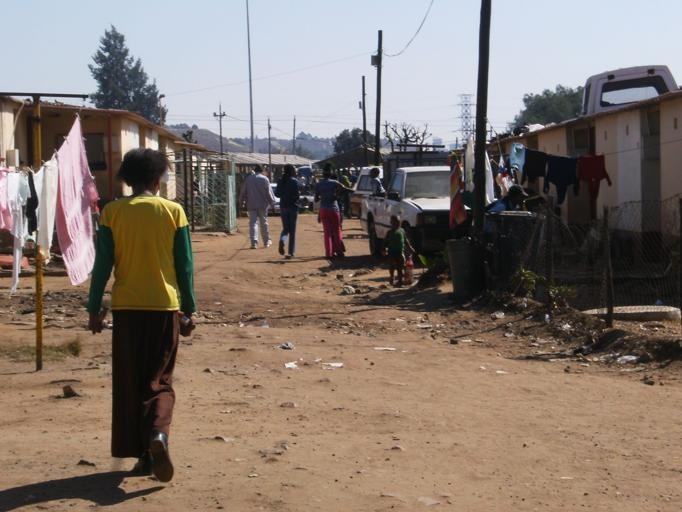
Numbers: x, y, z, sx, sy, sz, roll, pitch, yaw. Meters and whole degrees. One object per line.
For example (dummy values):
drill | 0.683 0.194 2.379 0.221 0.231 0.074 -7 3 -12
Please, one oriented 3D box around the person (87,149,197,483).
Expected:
person | -1.597 0.623 7.025 0.820 2.191 0.799 1 8 -4

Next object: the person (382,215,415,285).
person | 1.028 -0.099 15.737 0.479 1.177 0.712 2 8 1

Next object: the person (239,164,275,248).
person | -1.873 -1.100 19.969 0.747 1.941 1.246 1 8 -6

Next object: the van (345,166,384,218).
van | 0.736 -2.181 26.953 1.132 1.059 2.004 -1 -2 -8

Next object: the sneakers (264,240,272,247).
sneakers | -1.689 -0.299 20.561 0.099 0.144 0.060 -2 46 -11

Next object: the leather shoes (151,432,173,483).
leather shoes | -1.363 1.521 6.842 0.167 0.380 0.160 -11 -3 8

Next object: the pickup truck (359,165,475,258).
pickup truck | 1.614 -1.015 18.260 1.143 1.089 2.353 -1 2 -16
